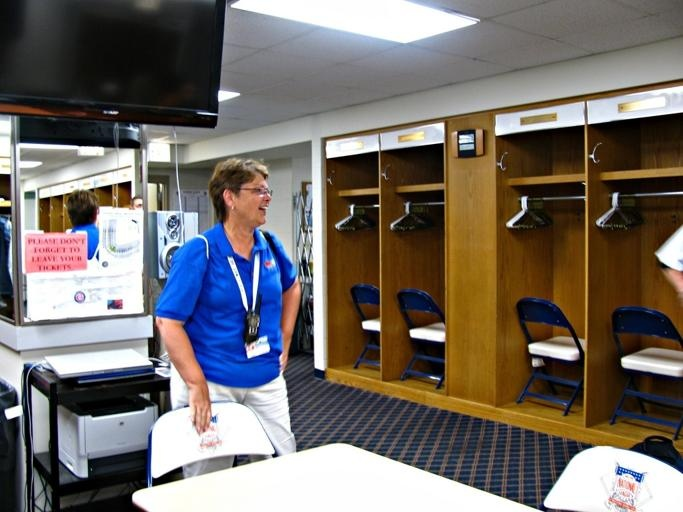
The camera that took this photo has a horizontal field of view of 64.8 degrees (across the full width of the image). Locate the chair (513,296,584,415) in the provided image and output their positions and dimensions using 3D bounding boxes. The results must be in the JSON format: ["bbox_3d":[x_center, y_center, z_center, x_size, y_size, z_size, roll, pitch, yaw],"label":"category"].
[{"bbox_3d":[2.270,0.960,5.535,0.664,1.132,0.839,-1,3,42],"label":"chair"}]

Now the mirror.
[{"bbox_3d":[-1.887,-0.321,3.987,0.532,0.494,0.195,-12,11,-4],"label":"mirror"}]

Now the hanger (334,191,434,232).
[{"bbox_3d":[0.600,-0.504,6.881,0.838,0.405,1.402,-6,5,-42],"label":"hanger"}]

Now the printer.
[{"bbox_3d":[-1.369,0.947,3.150,0.458,0.377,0.449,-2,5,-32],"label":"printer"}]

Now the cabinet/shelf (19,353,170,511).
[{"bbox_3d":[-1.538,1.042,3.478,0.971,1.351,0.645,1,-2,-34],"label":"cabinet/shelf"}]

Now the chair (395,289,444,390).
[{"bbox_3d":[1.137,0.940,6.509,0.647,1.132,0.855,-2,1,42],"label":"chair"}]

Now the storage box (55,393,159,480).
[{"bbox_3d":[-1.307,0.995,3.046,0.525,0.416,0.398,-3,5,-36],"label":"storage box"}]
